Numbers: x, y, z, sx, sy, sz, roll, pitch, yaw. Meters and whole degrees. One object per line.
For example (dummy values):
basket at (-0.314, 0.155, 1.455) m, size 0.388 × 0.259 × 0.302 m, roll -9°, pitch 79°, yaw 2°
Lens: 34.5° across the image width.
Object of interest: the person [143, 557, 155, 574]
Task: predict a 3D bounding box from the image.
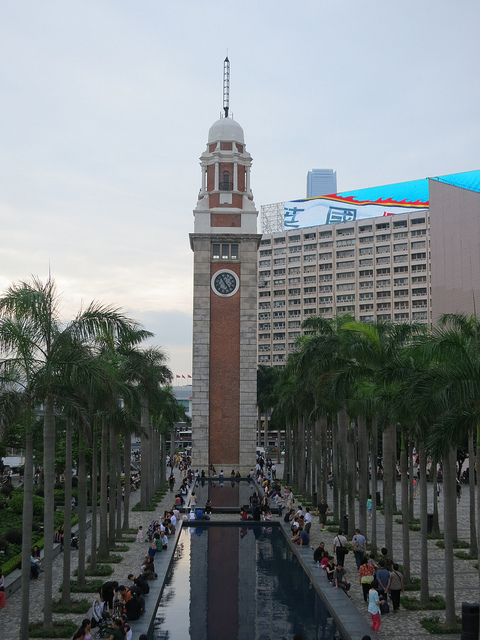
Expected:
person at (-2.621, 7.060, 22.217) m, size 0.283 × 0.405 × 0.733 m, roll -1°, pitch -6°, yaw -9°

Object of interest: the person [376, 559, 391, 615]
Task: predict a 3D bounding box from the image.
person at (3.438, 6.462, 18.517) m, size 0.338 × 1.334 × 1.388 m, roll -2°, pitch -6°, yaw 10°

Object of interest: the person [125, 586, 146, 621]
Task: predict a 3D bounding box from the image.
person at (-2.549, 6.765, 18.315) m, size 0.462 × 0.868 × 0.435 m, roll 0°, pitch -5°, yaw -4°

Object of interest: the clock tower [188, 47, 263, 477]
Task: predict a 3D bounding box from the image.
clock tower at (-1.289, -2.809, 63.328) m, size 5.916 × 30.648 × 6.376 m, roll -1°, pitch -5°, yaw -4°

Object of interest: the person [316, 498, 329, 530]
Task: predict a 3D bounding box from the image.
person at (3.420, 8.018, 32.072) m, size 0.369 × 1.231 × 1.275 m, roll -2°, pitch -6°, yaw 6°

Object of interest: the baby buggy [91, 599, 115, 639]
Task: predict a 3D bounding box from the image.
baby buggy at (-2.967, 6.502, 16.702) m, size 0.469 × 0.729 × 1.244 m, roll -1°, pitch -6°, yaw -12°

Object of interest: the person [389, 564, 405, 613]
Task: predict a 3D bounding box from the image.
person at (3.919, 6.698, 19.488) m, size 0.292 × 1.010 × 1.897 m, roll -3°, pitch -6°, yaw 12°

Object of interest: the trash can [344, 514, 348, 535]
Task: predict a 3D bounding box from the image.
trash can at (3.968, 7.642, 28.856) m, size 0.187 × 0.717 × 0.423 m, roll -2°, pitch -5°, yaw 8°
